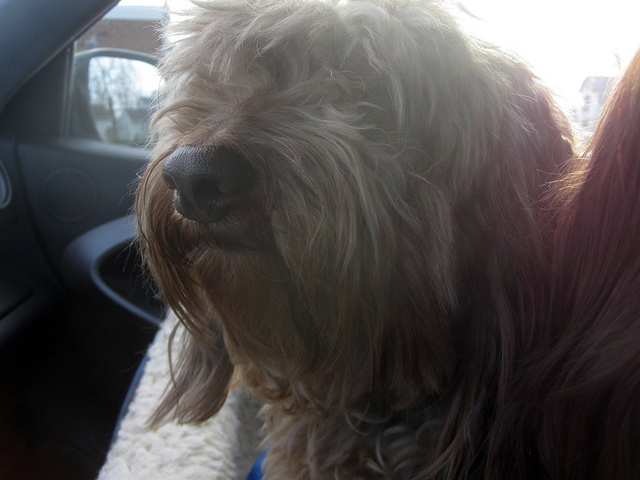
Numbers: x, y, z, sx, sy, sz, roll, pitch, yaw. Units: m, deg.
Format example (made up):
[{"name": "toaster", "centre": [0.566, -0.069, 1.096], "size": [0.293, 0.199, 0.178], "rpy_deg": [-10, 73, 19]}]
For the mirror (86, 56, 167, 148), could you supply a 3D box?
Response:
[{"name": "mirror", "centre": [-0.795, -0.596, 2.892], "size": [0.399, 0.059, 0.618], "rpy_deg": [6, 49, -29]}]
